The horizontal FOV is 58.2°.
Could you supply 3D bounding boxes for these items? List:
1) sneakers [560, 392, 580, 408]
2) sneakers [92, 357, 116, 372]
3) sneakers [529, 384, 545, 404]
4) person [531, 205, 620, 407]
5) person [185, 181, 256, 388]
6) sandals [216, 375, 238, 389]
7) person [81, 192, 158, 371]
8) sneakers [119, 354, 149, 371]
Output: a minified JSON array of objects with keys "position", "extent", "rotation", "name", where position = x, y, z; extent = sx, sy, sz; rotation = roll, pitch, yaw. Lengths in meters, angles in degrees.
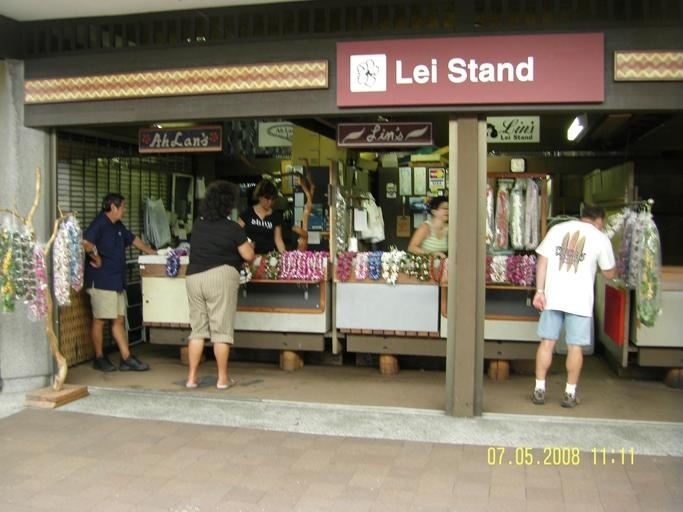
[{"position":[2.304,1.444,6.218],"extent":[0.095,0.099,0.208],"rotation":[1,6,27],"name":"sneakers"},{"position":[-2.877,1.300,7.474],"extent":[0.274,0.121,0.142],"rotation":[1,1,33],"name":"sneakers"},{"position":[2.040,1.426,6.349],"extent":[0.086,0.117,0.244],"rotation":[1,6,13],"name":"sneakers"},{"position":[2.351,0.571,6.292],"extent":[0.725,1.842,0.466],"rotation":[3,8,19],"name":"person"},{"position":[-1.332,0.317,6.625],"extent":[0.754,2.233,0.400],"rotation":[-2,7,-11],"name":"person"},{"position":[-1.263,1.393,6.792],"extent":[0.091,0.163,0.258],"rotation":[3,9,19],"name":"sandals"},{"position":[-2.759,0.320,7.456],"extent":[0.672,2.148,0.584],"rotation":[-3,8,-25],"name":"person"},{"position":[-2.540,1.293,7.530],"extent":[0.329,0.159,0.177],"rotation":[1,-1,7],"name":"sneakers"}]
